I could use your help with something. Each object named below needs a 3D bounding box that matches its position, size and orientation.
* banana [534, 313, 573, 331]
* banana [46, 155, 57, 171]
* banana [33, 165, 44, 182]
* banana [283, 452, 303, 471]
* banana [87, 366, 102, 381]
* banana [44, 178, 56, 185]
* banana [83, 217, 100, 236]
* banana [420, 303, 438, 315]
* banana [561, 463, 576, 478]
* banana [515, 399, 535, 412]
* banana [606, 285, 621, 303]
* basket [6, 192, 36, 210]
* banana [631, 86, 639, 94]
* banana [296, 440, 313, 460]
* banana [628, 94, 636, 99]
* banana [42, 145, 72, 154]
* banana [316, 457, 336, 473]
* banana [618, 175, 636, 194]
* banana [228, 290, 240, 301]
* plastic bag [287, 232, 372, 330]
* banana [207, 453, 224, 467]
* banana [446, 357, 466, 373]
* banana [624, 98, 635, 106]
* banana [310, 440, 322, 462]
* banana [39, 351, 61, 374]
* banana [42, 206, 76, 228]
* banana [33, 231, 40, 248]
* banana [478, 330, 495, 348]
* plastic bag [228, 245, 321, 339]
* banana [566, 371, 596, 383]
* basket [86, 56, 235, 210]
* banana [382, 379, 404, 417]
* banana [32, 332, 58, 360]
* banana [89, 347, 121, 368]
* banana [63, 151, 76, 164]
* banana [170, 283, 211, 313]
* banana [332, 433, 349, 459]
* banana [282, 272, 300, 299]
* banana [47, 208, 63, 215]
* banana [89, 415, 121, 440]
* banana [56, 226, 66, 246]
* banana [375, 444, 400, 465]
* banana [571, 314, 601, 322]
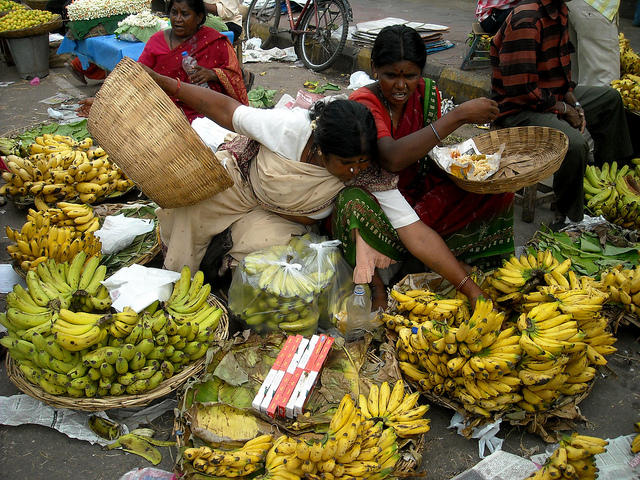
[{"bbox_3d":[1.390,0.488,3.122,0.125,0.027,0.044,-23,18,-7],"label":"banana"},{"bbox_3d":[-2.436,-0.697,4.782,0.058,0.119,0.066,11,-8,-4],"label":"banana"},{"bbox_3d":[-2.550,-0.600,4.758,0.076,0.140,0.045,-7,8,2],"label":"banana"},{"bbox_3d":[-0.145,1.186,2.831,0.064,0.048,0.131,23,30,12],"label":"banana"},{"bbox_3d":[-1.353,0.801,3.156,0.086,0.067,0.051,-45,8,0],"label":"banana"},{"bbox_3d":[-2.452,-0.532,4.777,0.053,0.039,0.070,10,7,23],"label":"banana"},{"bbox_3d":[-1.918,-0.111,4.393,0.061,0.043,0.177,12,45,21],"label":"banana"},{"bbox_3d":[0.733,0.455,3.510,0.052,0.149,0.041,-1,53,-39],"label":"banana"},{"bbox_3d":[1.381,1.268,2.901,0.069,0.060,0.059,-21,39,-28],"label":"banana"},{"bbox_3d":[1.267,1.010,3.223,0.129,0.037,0.052,31,65,34],"label":"banana"},{"bbox_3d":[2.014,0.362,3.595,0.033,0.043,0.123,-22,79,-52],"label":"banana"},{"bbox_3d":[-2.790,-0.359,4.910,0.241,0.087,0.208,-1,6,-43],"label":"basket"},{"bbox_3d":[3.068,-1.451,5.110,0.050,0.068,0.065,-1,33,-1],"label":"banana"},{"bbox_3d":[-0.101,1.107,2.823,0.063,0.067,0.102,-31,27,-29],"label":"banana"},{"bbox_3d":[3.056,-1.403,5.143,0.011,0.041,0.066,-21,39,-28],"label":"banana"},{"bbox_3d":[-2.497,-0.870,5.020,0.267,0.086,0.073,-5,69,-11],"label":"banana"},{"bbox_3d":[0.031,1.192,2.840,0.102,0.070,0.060,-34,15,22],"label":"banana"},{"bbox_3d":[2.806,-0.494,4.795,0.047,0.052,0.179,-30,85,-41],"label":"banana"},{"bbox_3d":[-0.618,0.396,3.757,0.079,0.061,0.028,33,70,30],"label":"banana"},{"bbox_3d":[0.107,0.205,3.861,0.372,0.942,0.508,-10,73,-30],"label":"plastic bag"},{"bbox_3d":[-0.561,1.183,2.844,0.077,0.058,0.045,-10,22,2],"label":"banana"},{"bbox_3d":[0.817,0.740,3.150,0.123,0.061,0.040,-30,4,-14],"label":"banana"},{"bbox_3d":[3.054,-1.360,5.167,0.032,0.025,0.111,-38,41,15],"label":"banana"},{"bbox_3d":[-0.015,1.104,2.753,0.051,0.099,0.031,9,35,9],"label":"banana"},{"bbox_3d":[-1.639,0.730,3.169,0.112,0.140,0.045,17,37,24],"label":"banana"},{"bbox_3d":[-2.194,-0.191,4.445,0.260,0.126,0.092,29,9,-25],"label":"banana"},{"bbox_3d":[-2.206,-0.009,4.095,0.061,0.025,0.099,-11,75,-6],"label":"banana"},{"bbox_3d":[0.989,0.578,3.119,0.050,0.114,0.039,42,57,4],"label":"banana"},{"bbox_3d":[-0.262,0.377,3.851,0.674,0.670,0.661,9,19,12],"label":"plastic bag"},{"bbox_3d":[1.648,0.862,3.297,0.186,0.076,0.037,-7,34,-10],"label":"banana"},{"bbox_3d":[-1.117,-0.702,3.574,0.925,0.938,0.438,19,38,27],"label":"basket"},{"bbox_3d":[0.458,0.980,3.275,0.068,0.092,0.271,-25,21,49],"label":"banana"},{"bbox_3d":[-1.676,0.617,3.174,0.054,0.187,0.065,-31,8,2],"label":"banana"},{"bbox_3d":[-1.305,0.701,3.181,0.083,0.055,0.165,17,65,30],"label":"banana"},{"bbox_3d":[-2.324,-0.762,4.877,0.129,0.061,0.096,-27,42,-35],"label":"banana"},{"bbox_3d":[-0.897,0.402,3.606,0.056,0.095,0.252,29,46,35],"label":"banana"},{"bbox_3d":[0.114,1.093,2.785,0.044,0.058,0.164,14,41,6],"label":"banana"},{"bbox_3d":[-0.192,0.321,3.575,0.063,0.068,0.213,-10,55,-14],"label":"banana"},{"bbox_3d":[-2.208,-0.242,4.380,0.174,0.049,0.060,5,36,46],"label":"banana"},{"bbox_3d":[-1.352,1.174,3.328,0.190,0.072,0.116,39,73,8],"label":"banana"},{"bbox_3d":[-2.019,-0.023,4.103,0.040,0.133,0.045,9,3,-10],"label":"banana"},{"bbox_3d":[0.386,1.186,2.995,0.181,0.065,0.053,-28,29,-36],"label":"banana"},{"bbox_3d":[1.620,0.470,3.214,0.140,0.050,0.030,-6,36,-9],"label":"banana"}]
